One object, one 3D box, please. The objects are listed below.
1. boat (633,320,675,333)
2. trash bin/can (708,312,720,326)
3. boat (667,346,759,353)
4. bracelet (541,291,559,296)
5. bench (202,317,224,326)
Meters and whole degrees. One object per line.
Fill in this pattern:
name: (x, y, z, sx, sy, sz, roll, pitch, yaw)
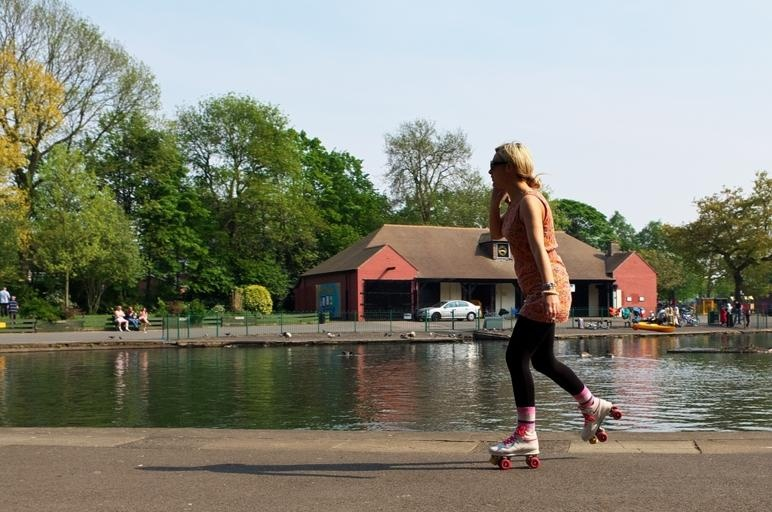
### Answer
boat: (15.946, 4.221, 61.568, 1.549, 0.329, 0.928, 8, -2, -2)
trash bin/can: (21.710, 4.111, 69.195, 0.950, 1.133, 0.890, 1, 2, 9)
boat: (14.634, 4.203, 46.509, 3.924, 0.277, 2.208, -2, -6, 18)
bracelet: (4.425, 0.997, 28.261, 0.402, 0.144, 0.110, -1, -6, 7)
bench: (-9.462, 3.613, 57.840, 0.628, 0.453, 2.072, -1, -6, 11)
